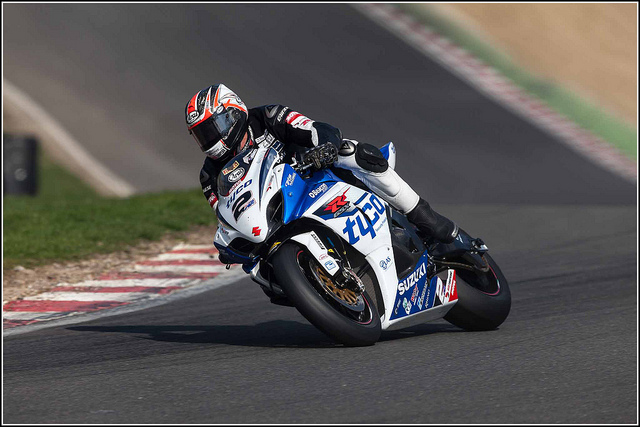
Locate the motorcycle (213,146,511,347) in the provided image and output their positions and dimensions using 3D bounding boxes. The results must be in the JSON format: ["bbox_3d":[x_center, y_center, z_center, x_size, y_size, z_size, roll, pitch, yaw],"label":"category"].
[{"bbox_3d":[0.491,0.371,6.006,0.990,1.837,3.519,-47,-27,21],"label":"motorcycle"}]
